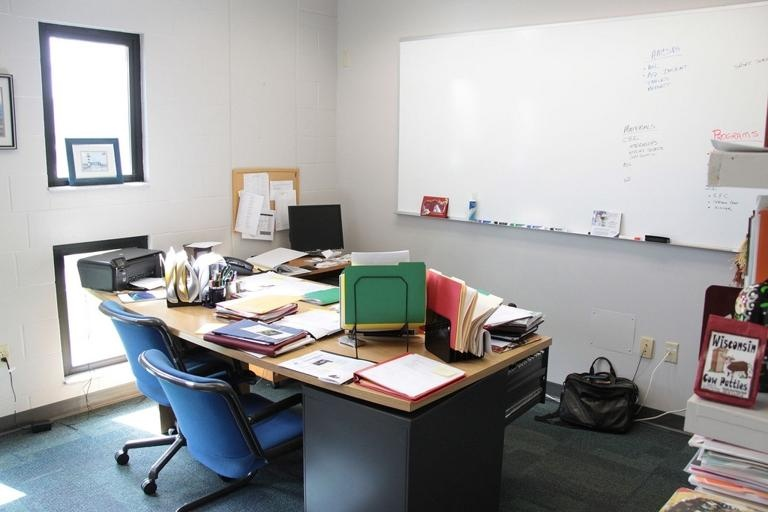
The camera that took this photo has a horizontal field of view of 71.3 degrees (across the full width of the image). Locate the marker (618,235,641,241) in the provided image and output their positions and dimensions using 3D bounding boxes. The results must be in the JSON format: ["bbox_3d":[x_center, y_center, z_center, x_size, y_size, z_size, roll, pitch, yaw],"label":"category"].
[{"bbox_3d":[1.843,-0.135,4.006,0.160,0.040,0.027,5,13,27],"label":"marker"}]

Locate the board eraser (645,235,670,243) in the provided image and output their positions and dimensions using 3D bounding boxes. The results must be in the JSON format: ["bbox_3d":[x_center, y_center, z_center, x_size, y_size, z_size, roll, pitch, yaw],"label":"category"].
[{"bbox_3d":[1.993,-0.121,3.897,0.175,0.058,0.035,5,13,29],"label":"board eraser"}]

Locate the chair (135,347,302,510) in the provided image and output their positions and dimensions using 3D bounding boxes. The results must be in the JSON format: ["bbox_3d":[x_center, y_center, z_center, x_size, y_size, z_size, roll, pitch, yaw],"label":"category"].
[{"bbox_3d":[-0.830,0.839,3.159,0.692,0.899,0.953,9,16,35],"label":"chair"}]

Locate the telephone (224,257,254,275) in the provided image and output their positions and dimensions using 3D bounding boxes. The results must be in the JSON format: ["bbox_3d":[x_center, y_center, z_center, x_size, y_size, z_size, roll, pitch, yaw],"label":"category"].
[{"bbox_3d":[-1.161,0.075,4.310,0.192,0.074,0.138,16,16,31],"label":"telephone"}]

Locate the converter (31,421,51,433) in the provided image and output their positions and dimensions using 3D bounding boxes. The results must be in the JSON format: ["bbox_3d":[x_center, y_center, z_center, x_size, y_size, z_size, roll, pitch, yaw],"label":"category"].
[{"bbox_3d":[-2.472,1.210,3.846,0.094,0.044,0.065,-6,14,-39],"label":"converter"}]

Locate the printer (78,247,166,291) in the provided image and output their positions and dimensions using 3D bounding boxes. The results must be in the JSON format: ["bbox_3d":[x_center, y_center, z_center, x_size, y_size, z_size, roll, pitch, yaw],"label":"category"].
[{"bbox_3d":[-1.987,0.034,3.897,0.338,0.226,0.440,7,14,24],"label":"printer"}]

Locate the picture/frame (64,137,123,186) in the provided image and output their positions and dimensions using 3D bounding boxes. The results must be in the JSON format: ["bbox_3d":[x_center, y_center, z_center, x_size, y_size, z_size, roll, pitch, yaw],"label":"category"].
[{"bbox_3d":[-2.214,-0.714,4.028,0.029,0.353,0.365,5,12,40],"label":"picture/frame"}]

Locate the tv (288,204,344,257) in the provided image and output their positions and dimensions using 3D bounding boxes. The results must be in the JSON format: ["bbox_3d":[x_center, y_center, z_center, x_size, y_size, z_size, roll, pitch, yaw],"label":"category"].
[{"bbox_3d":[-0.655,-0.241,5.034,0.511,0.405,0.068,2,-7,-31],"label":"tv"}]

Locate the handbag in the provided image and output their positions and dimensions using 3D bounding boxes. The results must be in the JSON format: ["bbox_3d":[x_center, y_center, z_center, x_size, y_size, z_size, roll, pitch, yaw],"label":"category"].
[{"bbox_3d":[1.638,1.038,4.055,0.503,0.435,0.488,7,14,35],"label":"handbag"}]
